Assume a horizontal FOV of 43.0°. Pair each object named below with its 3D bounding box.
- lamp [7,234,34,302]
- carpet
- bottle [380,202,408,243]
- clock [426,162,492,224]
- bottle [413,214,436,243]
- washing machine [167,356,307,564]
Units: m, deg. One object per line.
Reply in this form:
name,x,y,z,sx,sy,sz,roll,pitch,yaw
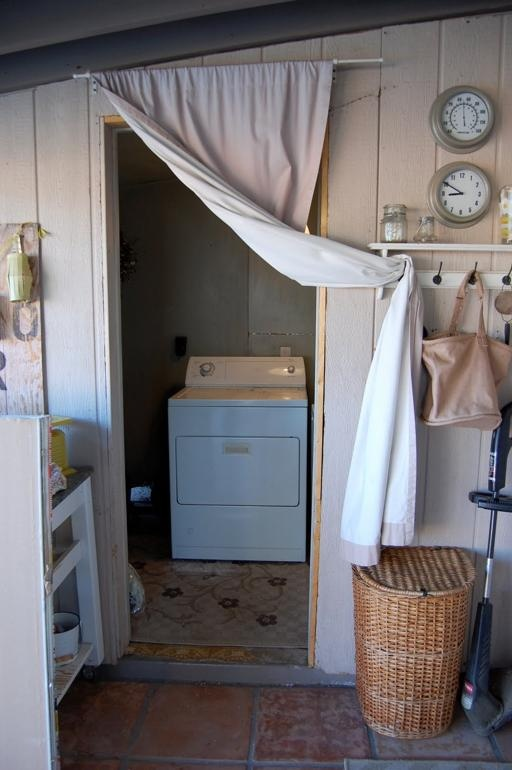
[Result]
lamp,-0.829,-0.401,2.252,0.088,0.240,0.102,-3,9,-13
carpet,-0.170,0.970,2.948,0.824,0.059,0.863,-1,9,2
bottle,0.443,-0.519,2.085,0.087,0.139,0.111,0,3,-1
clock,0.667,-0.616,2.104,0.188,0.227,0.064,-2,-3,20
bottle,0.541,-0.507,2.122,0.070,0.096,0.077,0,6,2
washing machine,-0.104,0.358,3.653,0.811,1.423,0.882,0,5,3
